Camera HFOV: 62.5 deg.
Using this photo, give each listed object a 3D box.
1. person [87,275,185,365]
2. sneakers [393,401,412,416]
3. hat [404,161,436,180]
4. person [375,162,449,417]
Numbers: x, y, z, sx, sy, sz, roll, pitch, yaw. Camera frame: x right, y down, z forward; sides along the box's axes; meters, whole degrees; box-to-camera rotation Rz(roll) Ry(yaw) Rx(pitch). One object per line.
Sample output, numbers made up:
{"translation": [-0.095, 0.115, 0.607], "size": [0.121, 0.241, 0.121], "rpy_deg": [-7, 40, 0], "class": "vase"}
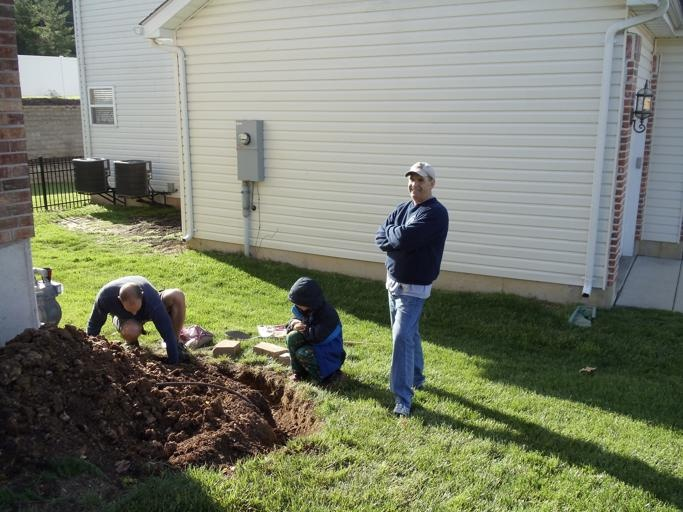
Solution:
{"translation": [-2.294, 0.632, 6.406], "size": [1.031, 1.111, 1.026], "rpy_deg": [1, 34, -7], "class": "person"}
{"translation": [0.600, 1.534, 5.618], "size": [0.150, 0.117, 0.106], "rpy_deg": [-3, -8, 29], "class": "sneakers"}
{"translation": [0.821, -0.905, 5.930], "size": [0.256, 0.152, 0.464], "rpy_deg": [6, 12, 5], "class": "hat"}
{"translation": [0.718, 0.301, 5.826], "size": [0.640, 2.472, 1.064], "rpy_deg": [2, 12, -11], "class": "person"}
